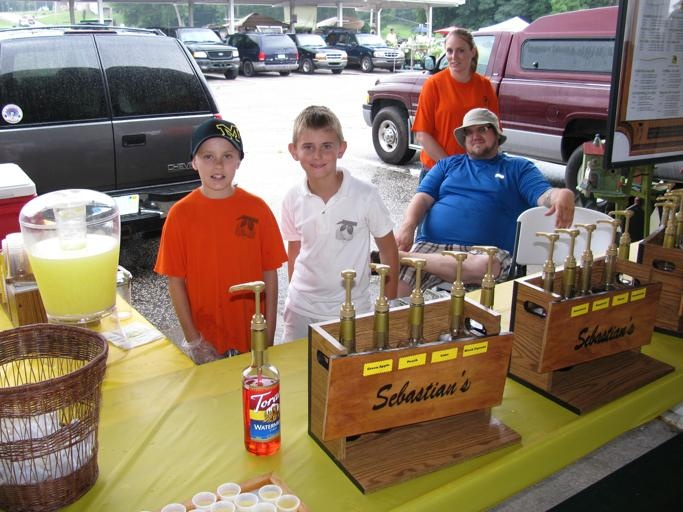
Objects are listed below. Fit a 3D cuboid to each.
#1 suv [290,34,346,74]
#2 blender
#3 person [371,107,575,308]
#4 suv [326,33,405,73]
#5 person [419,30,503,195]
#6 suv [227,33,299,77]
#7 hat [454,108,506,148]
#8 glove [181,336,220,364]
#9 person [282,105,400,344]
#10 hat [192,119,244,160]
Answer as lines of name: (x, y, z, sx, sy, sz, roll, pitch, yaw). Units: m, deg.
suv: (-1.077, -8.634, 22.144, 2.564, 1.728, 1.578, -9, 21, -23)
blender: (-0.917, 0.060, 1.866, 0.289, 0.541, 0.289, -15, 27, -41)
person: (0.959, -0.364, 3.525, 1.167, 0.804, 1.440, 2, 11, 28)
suv: (0.915, -9.164, 23.106, 1.741, 1.408, 3.522, -21, 40, -38)
person: (0.993, -1.237, 4.547, 0.603, 1.368, 0.575, 2, 24, 4)
suv: (-3.227, -8.059, 20.661, 2.273, 1.554, 3.781, -17, 28, -39)
hat: (0.963, -0.935, 3.705, 0.409, 0.326, 0.289, 8, 19, 28)
glove: (-0.614, 0.417, 2.281, 0.070, 0.108, 0.081, -38, 6, 12)
person: (-0.024, -0.137, 2.609, 0.632, 1.207, 0.443, -6, 20, -7)
hat: (-0.566, -0.550, 2.414, 0.233, 0.183, 0.220, -10, 23, -26)
